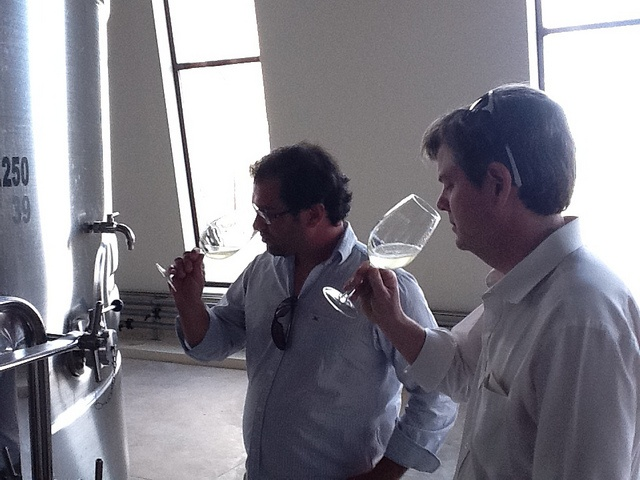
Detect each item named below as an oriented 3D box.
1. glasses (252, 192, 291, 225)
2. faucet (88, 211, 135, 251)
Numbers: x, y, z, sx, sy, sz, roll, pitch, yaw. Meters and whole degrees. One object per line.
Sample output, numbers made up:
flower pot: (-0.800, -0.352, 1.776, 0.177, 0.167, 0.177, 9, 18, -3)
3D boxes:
glasses: (-0.154, -0.093, 1.710, 0.081, 0.027, 0.078, -22, 44, -29)
faucet: (-0.675, -0.022, 1.737, 0.146, 0.096, 0.065, -4, 14, 10)
